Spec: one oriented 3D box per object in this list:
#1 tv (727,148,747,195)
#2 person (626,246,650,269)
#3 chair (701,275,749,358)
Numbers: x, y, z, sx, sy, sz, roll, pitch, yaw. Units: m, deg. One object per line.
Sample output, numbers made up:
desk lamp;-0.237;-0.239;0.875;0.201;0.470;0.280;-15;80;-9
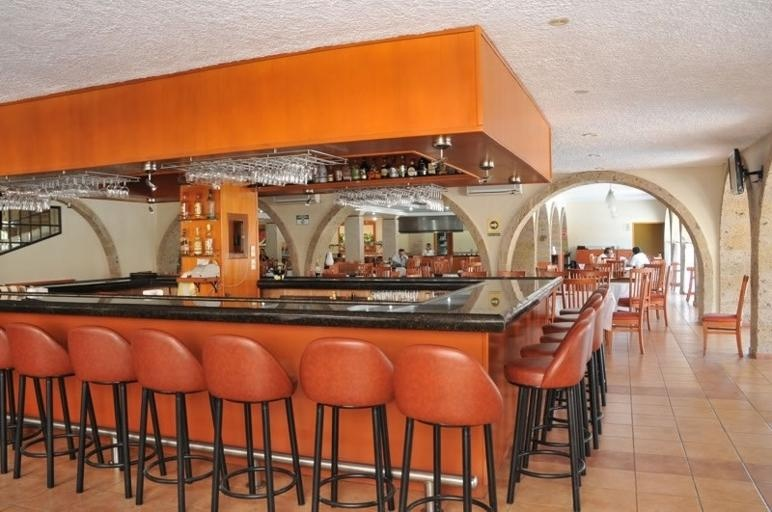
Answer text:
tv;5.717;-1.383;10.252;0.179;0.523;0.768;3;12;24
person;7.166;0.051;18.013;0.537;0.433;1.192;14;-20;20
chair;4.977;0.866;9.303;0.745;0.990;0.748;-5;-8;44
